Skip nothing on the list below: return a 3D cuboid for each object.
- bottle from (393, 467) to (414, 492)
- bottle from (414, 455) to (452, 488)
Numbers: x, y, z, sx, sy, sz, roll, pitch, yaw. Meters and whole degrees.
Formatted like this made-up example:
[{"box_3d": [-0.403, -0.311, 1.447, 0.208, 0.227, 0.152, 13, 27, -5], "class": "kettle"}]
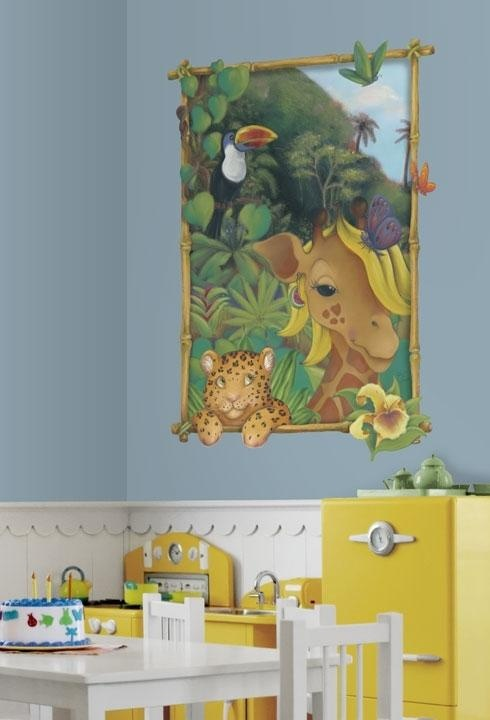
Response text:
[{"box_3d": [0.512, 0.393, 4.966, 0.041, 0.064, 0.058, 0, -16, -3], "class": "bottle"}, {"box_3d": [0.585, 0.361, 4.830, 0.112, 0.103, 0.145, -1, -8, 3], "class": "bottle"}]
